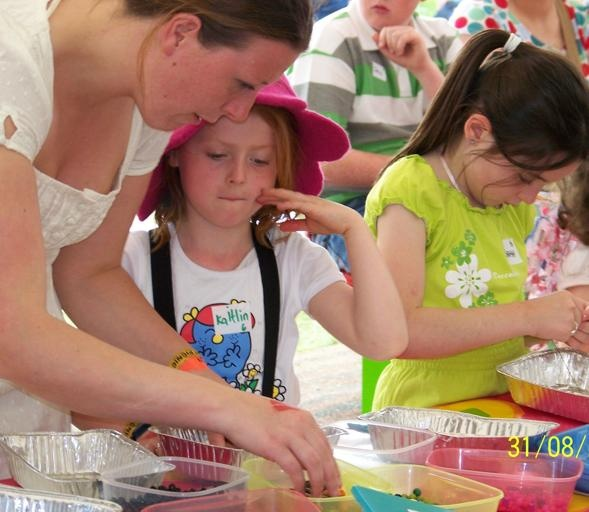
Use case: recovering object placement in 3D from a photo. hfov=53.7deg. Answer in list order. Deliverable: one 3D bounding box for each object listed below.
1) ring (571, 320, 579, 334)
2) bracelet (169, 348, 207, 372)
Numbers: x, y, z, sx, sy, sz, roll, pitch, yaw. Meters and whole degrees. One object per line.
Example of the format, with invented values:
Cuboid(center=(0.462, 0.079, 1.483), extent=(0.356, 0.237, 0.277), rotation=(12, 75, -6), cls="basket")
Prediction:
Cuboid(center=(0.776, 0.199, 1.607), extent=(0.011, 0.036, 0.035), rotation=(26, 20, 18), cls="ring")
Cuboid(center=(-0.228, 0.228, 1.252), extent=(0.048, 0.050, 0.051), rotation=(-23, -15, -39), cls="bracelet")
